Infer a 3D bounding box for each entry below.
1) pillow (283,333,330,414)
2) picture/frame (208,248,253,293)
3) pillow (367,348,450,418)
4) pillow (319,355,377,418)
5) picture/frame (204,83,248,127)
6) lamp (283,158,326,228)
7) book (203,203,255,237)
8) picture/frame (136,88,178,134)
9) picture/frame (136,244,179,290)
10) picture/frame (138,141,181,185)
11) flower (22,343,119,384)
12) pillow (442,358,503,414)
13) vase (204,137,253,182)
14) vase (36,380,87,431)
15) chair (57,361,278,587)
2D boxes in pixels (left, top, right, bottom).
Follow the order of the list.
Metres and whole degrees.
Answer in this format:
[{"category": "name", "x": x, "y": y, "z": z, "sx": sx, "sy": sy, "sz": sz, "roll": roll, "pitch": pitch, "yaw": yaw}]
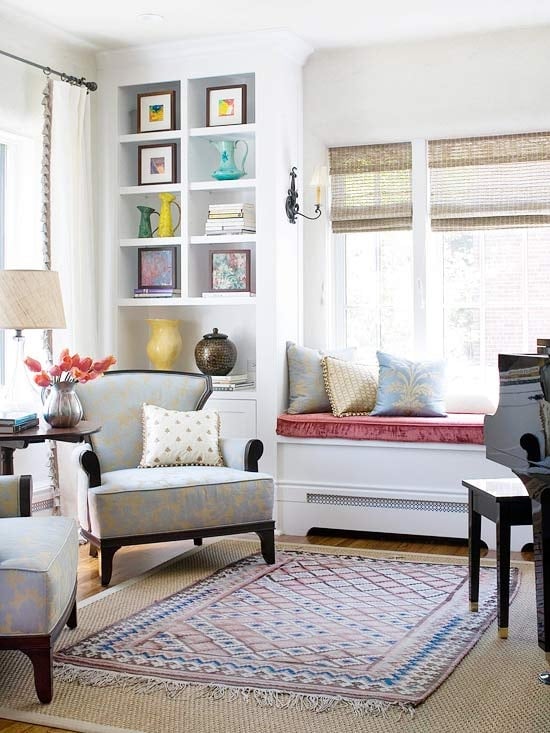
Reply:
[{"category": "pillow", "x": 0.178, "y": 0.058, "z": 3.876, "sx": 0.172, "sy": 0.434, "sz": 0.486, "roll": -10, "pitch": -5, "yaw": 43}, {"category": "picture/frame", "x": -0.268, "y": -0.584, "z": 4.005, "sx": 0.316, "sy": 0.289, "sz": 0.031, "roll": 0, "pitch": -4, "yaw": 14}, {"category": "pillow", "x": 0.756, "y": 0.107, "z": 3.691, "sx": 0.377, "sy": 0.335, "sz": 0.135, "roll": 4, "pitch": -25, "yaw": 7}, {"category": "pillow", "x": 0.409, "y": 0.108, "z": 3.753, "sx": 0.350, "sy": 0.321, "sz": 0.103, "roll": -2, "pitch": -19, "yaw": -28}, {"category": "picture/frame", "x": -0.286, "y": -1.568, "z": 3.917, "sx": 0.367, "sy": 0.325, "sz": 0.038, "roll": 1, "pitch": -1, "yaw": 19}, {"category": "lamp", "x": 0.202, "y": -1.057, "z": 4.084, "sx": 0.228, "sy": 0.383, "sz": 0.479, "roll": -1, "pitch": -4, "yaw": 9}, {"category": "book", "x": -0.263, "y": -0.874, "z": 3.894, "sx": 0.291, "sy": 0.194, "sz": 0.146, "roll": 0, "pitch": -4, "yaw": -4}, {"category": "picture/frame", "x": -0.731, "y": -1.592, "z": 4.078, "sx": 0.375, "sy": 0.340, "sz": 0.048, "roll": 1, "pitch": 1, "yaw": 16}, {"category": "picture/frame", "x": -0.744, "y": -0.634, "z": 4.155, "sx": 0.320, "sy": 0.319, "sz": 0.023, "roll": 1, "pitch": 0, "yaw": 10}, {"category": "picture/frame", "x": -0.728, "y": -1.278, "z": 4.100, "sx": 0.328, "sy": 0.311, "sz": 0.049, "roll": 1, "pitch": -3, "yaw": 17}, {"category": "flower", "x": -0.863, "y": 0.009, "z": 2.718, "sx": 0.332, "sy": 0.152, "sz": 0.253, "roll": -1, "pitch": -3, "yaw": 4}, {"category": "pillow", "x": 1.183, "y": 0.134, "z": 3.921, "sx": 0.340, "sy": 0.083, "sz": 0.359, "roll": -3, "pitch": 16, "yaw": 9}, {"category": "vase", "x": -0.256, "y": -1.271, "z": 4.109, "sx": 0.309, "sy": 0.291, "sz": 0.266, "roll": -3, "pitch": 1, "yaw": -34}, {"category": "vase", "x": -0.866, "y": 0.154, "z": 2.654, "sx": 0.193, "sy": 0.182, "sz": 0.155, "roll": -3, "pitch": 0, "yaw": 11}, {"category": "chair", "x": -0.481, "y": 0.459, "z": 3.280, "sx": 0.979, "sy": 0.981, "sz": 0.941, "roll": 1, "pitch": -5, "yaw": -28}]
